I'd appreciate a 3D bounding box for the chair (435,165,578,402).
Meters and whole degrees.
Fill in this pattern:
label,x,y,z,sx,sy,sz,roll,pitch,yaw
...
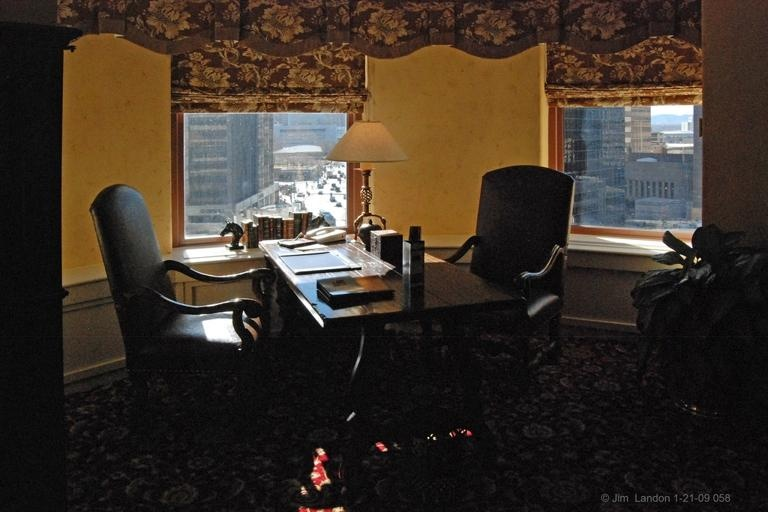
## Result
label,x,y,z,sx,sy,sz,roll,pitch,yaw
chair,0.585,0.093,3.144,0.804,0.987,0.730,-2,16,4

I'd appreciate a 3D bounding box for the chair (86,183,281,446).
label,x,y,z,sx,sy,sz,roll,pitch,yaw
chair,-0.826,0.206,2.715,0.833,0.980,0.780,10,14,32
